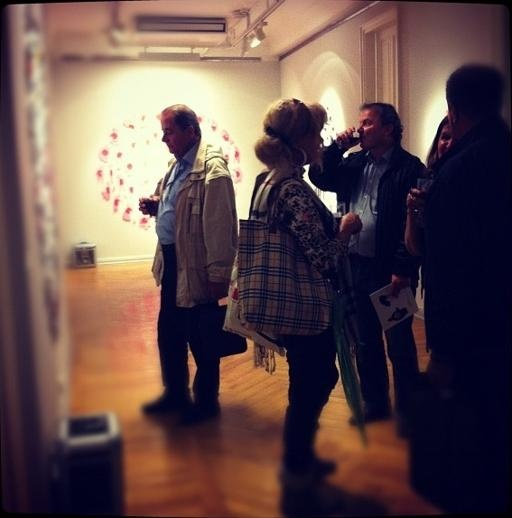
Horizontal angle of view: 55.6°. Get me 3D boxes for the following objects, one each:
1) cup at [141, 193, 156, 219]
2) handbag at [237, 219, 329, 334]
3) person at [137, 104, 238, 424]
[{"bbox_3d":[-0.386,-0.189,1.740,0.055,0.066,0.057,0,3,0],"label":"cup"},{"bbox_3d":[0.069,0.043,1.282,0.228,0.260,0.121,9,-6,-9],"label":"handbag"},{"bbox_3d":[-0.243,0.022,1.716,0.347,1.078,0.274,-2,6,-16],"label":"person"}]
